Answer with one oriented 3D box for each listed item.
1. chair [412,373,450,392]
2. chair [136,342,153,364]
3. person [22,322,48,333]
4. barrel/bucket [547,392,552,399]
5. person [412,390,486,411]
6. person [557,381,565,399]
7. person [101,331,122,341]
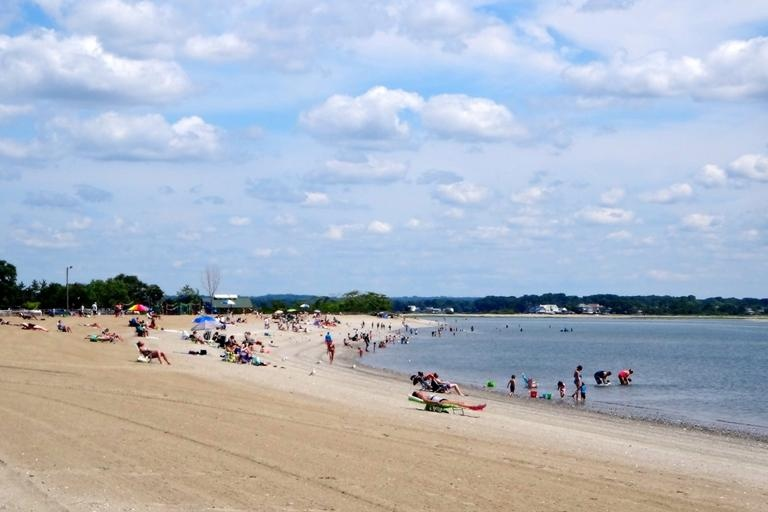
[{"bbox_3d":[2.684,7.262,44.279,2.719,1.035,0.963,5,9,32],"label":"chair"},{"bbox_3d":[-13.708,5.526,44.319,1.120,1.131,1.648,2,-6,-16],"label":"chair"},{"bbox_3d":[-27.642,5.550,60.233,2.497,0.890,1.459,-2,-3,23],"label":"person"},{"bbox_3d":[10.829,9.030,49.802,0.325,0.332,0.387,4,12,5],"label":"barrel/bucket"},{"bbox_3d":[3.360,7.631,40.483,4.174,0.653,1.491,3,-3,36],"label":"person"},{"bbox_3d":[11.819,8.735,50.434,0.370,1.002,2.408,-1,-6,17],"label":"person"},{"bbox_3d":[-19.602,5.793,55.200,0.828,0.414,0.913,3,0,-29],"label":"person"}]
